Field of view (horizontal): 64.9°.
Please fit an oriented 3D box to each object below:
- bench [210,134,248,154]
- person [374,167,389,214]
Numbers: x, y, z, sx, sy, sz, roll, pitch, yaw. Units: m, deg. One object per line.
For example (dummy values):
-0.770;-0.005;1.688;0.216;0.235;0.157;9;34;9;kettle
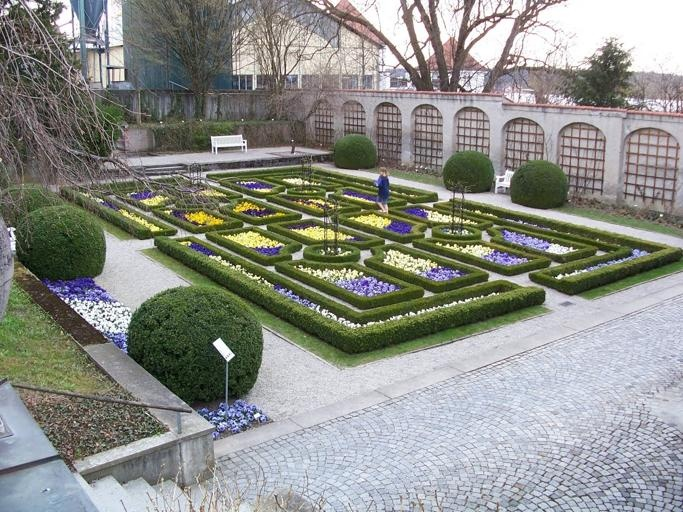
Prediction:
-6.233;-6.138;29.585;2.135;1.004;1.657;-4;13;-27;bench
1.321;-2.164;17.575;0.456;1.480;1.294;3;12;3;person
